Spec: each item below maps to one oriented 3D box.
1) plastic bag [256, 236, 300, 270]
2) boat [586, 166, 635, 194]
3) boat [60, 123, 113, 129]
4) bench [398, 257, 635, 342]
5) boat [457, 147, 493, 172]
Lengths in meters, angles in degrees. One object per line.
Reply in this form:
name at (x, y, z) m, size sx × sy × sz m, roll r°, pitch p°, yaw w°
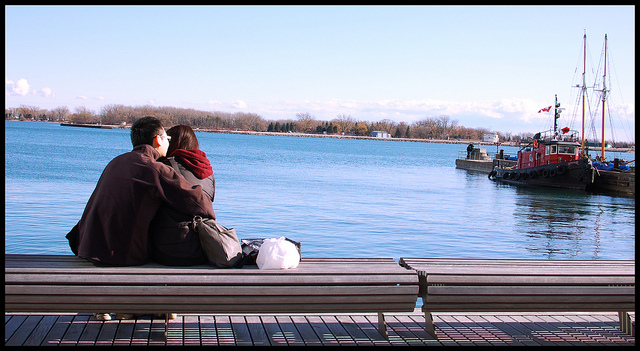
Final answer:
plastic bag at (-0.551, 0.988, 7.749) m, size 0.497 × 0.372 × 0.251 m, roll 5°, pitch 0°, yaw -4°
boat at (18.267, 0.334, 37.863) m, size 2.348 × 1.631 × 4.803 m, roll 3°, pitch -1°, yaw -37°
boat at (-78.768, -16.595, 200.747) m, size 8.168 × 1.835 × 31.160 m, roll 0°, pitch 3°, yaw -41°
bench at (2.623, 1.682, 7.862) m, size 3.205 × 1.115 × 0.649 m, roll 2°, pitch 3°, yaw -5°
boat at (17.441, -1.545, 66.401) m, size 4.091 × 0.944 × 3.431 m, roll 8°, pitch 13°, yaw -6°
